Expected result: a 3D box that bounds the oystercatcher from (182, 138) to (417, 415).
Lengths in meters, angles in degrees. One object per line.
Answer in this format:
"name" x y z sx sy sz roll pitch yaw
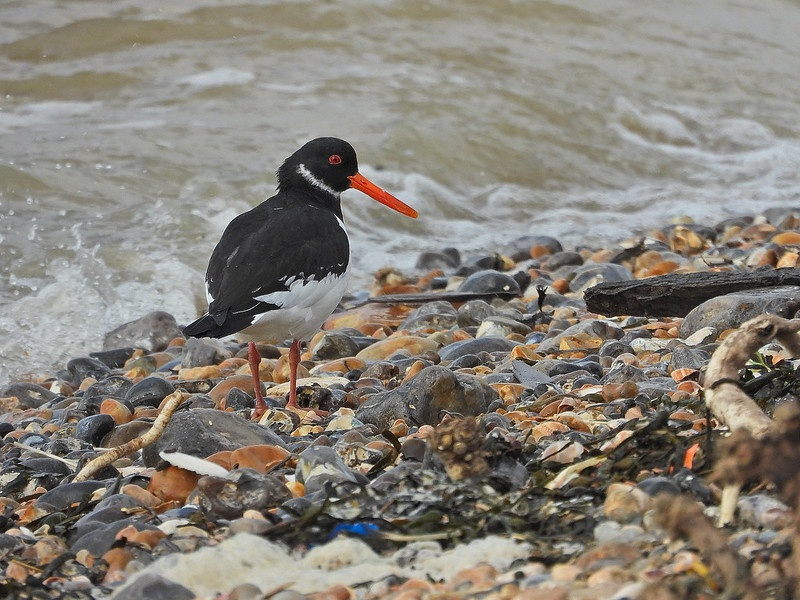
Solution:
"oystercatcher" -0.397 -0.224 7.467 2.152 1.811 1.932 -4 27 -16
